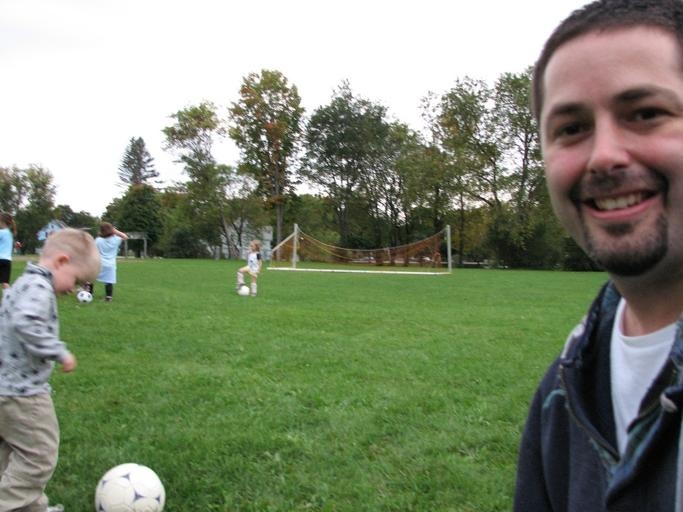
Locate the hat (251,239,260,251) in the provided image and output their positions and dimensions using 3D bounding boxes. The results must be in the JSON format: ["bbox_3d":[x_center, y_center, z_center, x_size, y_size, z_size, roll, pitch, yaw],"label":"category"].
[{"bbox_3d":[-1.942,-0.221,12.062,0.182,0.266,0.215,8,14,7],"label":"hat"}]

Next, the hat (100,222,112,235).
[{"bbox_3d":[-4.174,-0.480,9.617,0.183,0.281,0.264,4,4,-2],"label":"hat"}]

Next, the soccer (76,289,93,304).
[{"bbox_3d":[-4.218,0.664,9.005,0.213,0.271,0.226,-8,9,-6],"label":"soccer"}]

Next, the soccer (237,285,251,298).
[{"bbox_3d":[-2.088,0.750,11.579,0.234,0.238,0.235,-20,7,8],"label":"soccer"}]
